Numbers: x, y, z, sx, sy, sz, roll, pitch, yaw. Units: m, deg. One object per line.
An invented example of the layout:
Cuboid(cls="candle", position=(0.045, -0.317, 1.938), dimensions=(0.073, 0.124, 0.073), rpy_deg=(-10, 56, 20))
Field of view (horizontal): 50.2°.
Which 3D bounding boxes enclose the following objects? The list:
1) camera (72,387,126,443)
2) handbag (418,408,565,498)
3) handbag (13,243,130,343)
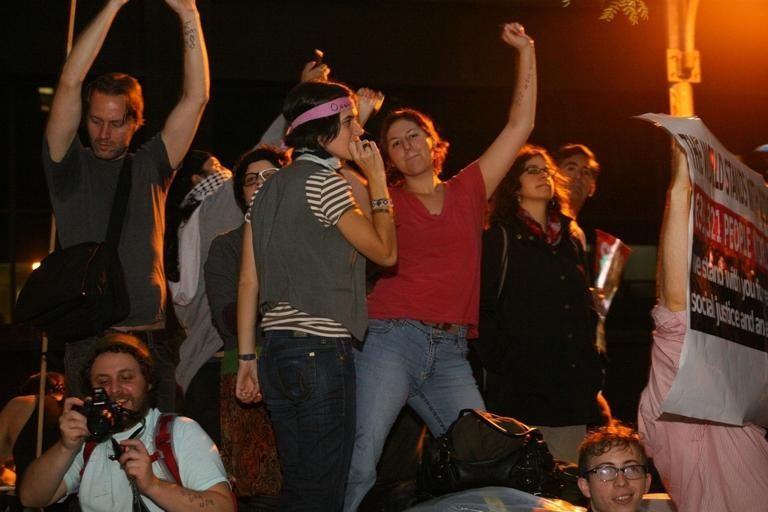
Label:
Cuboid(cls="camera", position=(-1.807, 0.966, 5.107), dimensions=(0.296, 0.273, 0.302), rpy_deg=(1, 7, 1))
Cuboid(cls="handbag", position=(0.704, 1.310, 5.622), dimensions=(0.747, 0.331, 0.595), rpy_deg=(1, -6, -1))
Cuboid(cls="handbag", position=(-2.261, 0.232, 5.870), dimensions=(0.870, 0.433, 0.696), rpy_deg=(-5, 42, -2))
